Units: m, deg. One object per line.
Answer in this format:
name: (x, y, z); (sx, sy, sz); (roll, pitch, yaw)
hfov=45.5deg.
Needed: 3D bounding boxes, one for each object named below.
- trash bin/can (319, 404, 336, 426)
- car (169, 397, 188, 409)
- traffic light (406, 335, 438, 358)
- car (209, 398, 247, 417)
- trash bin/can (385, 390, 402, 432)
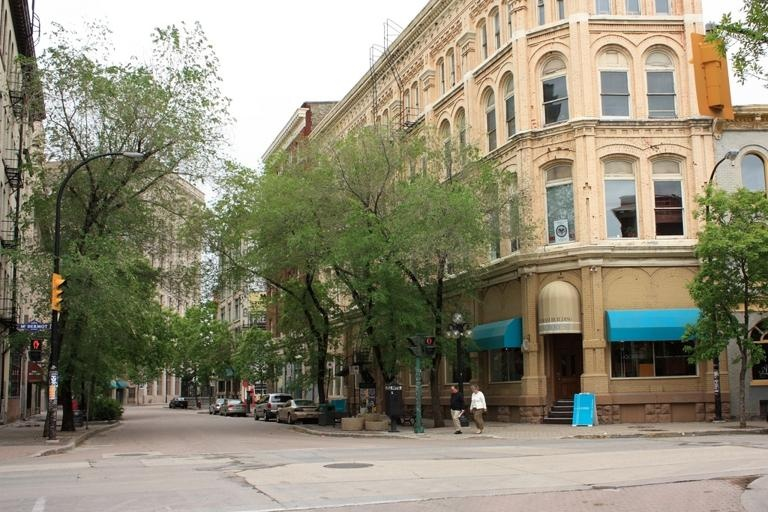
trash bin/can: (-2.993, 8.595, 49.295); (0.790, 1.086, 1.008); (-1, -14, 3)
car: (-22.691, 16.300, 101.972); (1.258, 1.332, 2.915); (8, -16, -35)
traffic light: (1.655, 4.024, 41.145); (1.181, 1.035, 0.890); (1, -5, -26)
car: (-12.807, 12.659, 77.290); (1.558, 1.207, 4.870); (3, -6, -20)
trash bin/can: (0.318, 7.171, 42.439); (0.561, 1.909, 1.074); (9, -16, -39)
